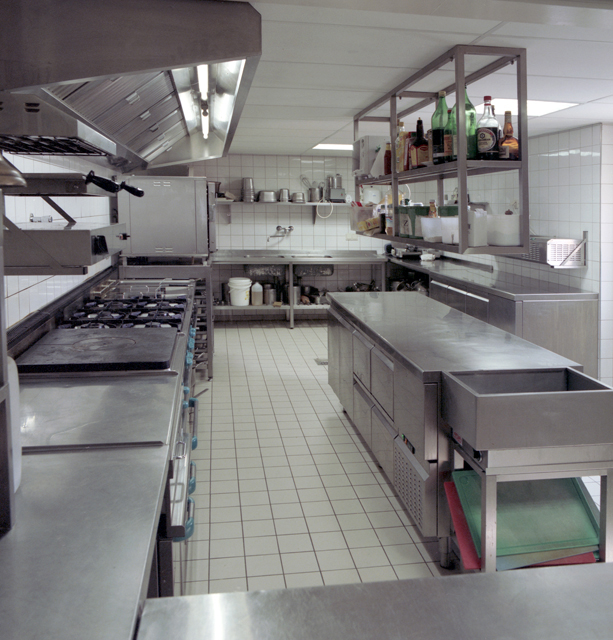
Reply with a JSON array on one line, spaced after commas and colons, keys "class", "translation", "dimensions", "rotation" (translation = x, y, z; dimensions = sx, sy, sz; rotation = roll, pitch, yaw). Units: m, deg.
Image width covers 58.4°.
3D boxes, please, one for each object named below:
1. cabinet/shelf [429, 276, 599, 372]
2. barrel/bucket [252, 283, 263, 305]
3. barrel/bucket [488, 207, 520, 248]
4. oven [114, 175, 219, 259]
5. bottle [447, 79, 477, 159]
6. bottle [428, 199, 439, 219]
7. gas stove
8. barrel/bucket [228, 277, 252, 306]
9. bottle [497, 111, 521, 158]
[{"class": "cabinet/shelf", "translation": [1.892, 0.032, 5.264], "dimensions": [0.678, 0.732, 1.595], "rotation": [-5, 11, -24]}, {"class": "barrel/bucket", "translation": [-0.699, -0.370, 7.715], "dimensions": [0.167, 0.319, 0.291], "rotation": [-1, 10, -5]}, {"class": "barrel/bucket", "translation": [0.977, -0.474, 2.798], "dimensions": [0.191, 0.213, 0.190], "rotation": [-1, 9, 0]}, {"class": "oven", "translation": [-1.320, -1.060, 5.788], "dimensions": [1.270, 0.802, 1.272], "rotation": [7, 9, 43]}, {"class": "bottle", "translation": [0.803, -1.000, 2.835], "dimensions": [0.141, 0.346, 0.428], "rotation": [2, 10, 13]}, {"class": "bottle", "translation": [0.726, -0.639, 3.152], "dimensions": [0.049, 0.099, 0.178], "rotation": [2, 10, 11]}, {"class": "gas stove", "translation": [-1.086, -0.060, 3.351], "dimensions": [0.686, 0.046, 0.982], "rotation": [-2, 10, -12]}, {"class": "barrel/bucket", "translation": [-0.913, -0.377, 7.485], "dimensions": [0.365, 0.350, 0.321], "rotation": [2, 8, 14]}, {"class": "bottle", "translation": [1.014, -0.916, 2.745], "dimensions": [0.091, 0.226, 0.212], "rotation": [3, 11, 19]}]
